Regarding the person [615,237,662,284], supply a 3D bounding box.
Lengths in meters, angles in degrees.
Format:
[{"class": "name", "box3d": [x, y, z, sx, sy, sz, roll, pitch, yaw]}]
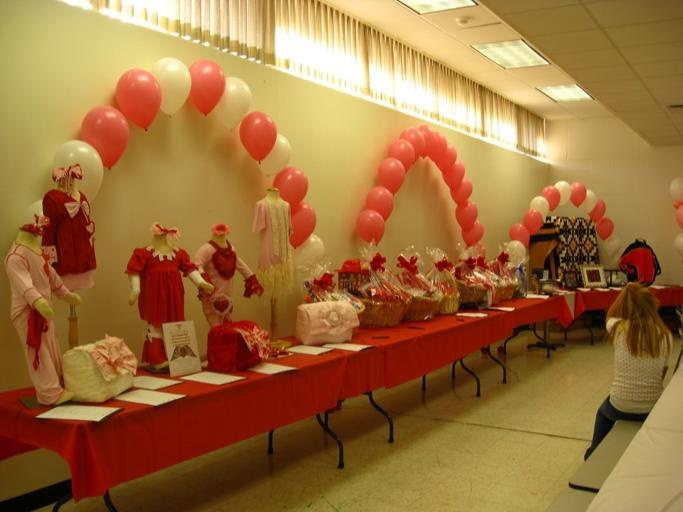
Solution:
[{"class": "person", "box3d": [5.356, 0.097, 8.710, 0.667, 0.866, 0.431, 4, 8, 11]}]

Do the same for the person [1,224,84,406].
[{"class": "person", "box3d": [-1.580, 0.294, 2.570, 0.331, 0.930, 0.330, -1, 1, -38]}]

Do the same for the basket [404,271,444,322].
[{"class": "basket", "box3d": [0.824, 0.414, 4.953, 0.374, 0.324, 0.415, 1, -2, 12]}]

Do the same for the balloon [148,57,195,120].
[{"class": "balloon", "box3d": [-1.240, -1.228, 3.552, 0.298, 0.484, 0.349, 2, 19, -9]}]

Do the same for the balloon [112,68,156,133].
[{"class": "balloon", "box3d": [-1.404, -1.109, 3.438, 0.307, 0.498, 0.356, -8, 17, -11]}]

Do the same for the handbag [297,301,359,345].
[{"class": "handbag", "box3d": [-0.142, 0.441, 3.945, 0.415, 0.346, 0.307, -2, 0, -40]}]

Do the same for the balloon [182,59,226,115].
[{"class": "balloon", "box3d": [-1.053, -1.314, 3.743, 0.297, 0.459, 0.347, 2, 24, -7]}]

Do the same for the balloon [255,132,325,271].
[{"class": "balloon", "box3d": [-0.502, -0.472, 4.272, 0.413, 1.184, 0.824, 0, 1, 12]}]

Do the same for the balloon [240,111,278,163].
[{"class": "balloon", "box3d": [-0.666, -1.044, 4.193, 0.319, 0.471, 0.330, 13, 22, 32]}]

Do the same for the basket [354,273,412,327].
[{"class": "basket", "box3d": [0.384, 0.399, 4.616, 0.401, 0.473, 0.561, -2, -1, 26]}]

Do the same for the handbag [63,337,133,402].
[{"class": "handbag", "box3d": [-1.303, 0.558, 2.662, 0.270, 0.353, 0.355, -1, -2, 12]}]

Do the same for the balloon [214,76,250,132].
[{"class": "balloon", "box3d": [-0.860, -1.250, 4.074, 0.320, 0.479, 0.354, 8, 19, -17]}]

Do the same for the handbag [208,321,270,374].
[{"class": "handbag", "box3d": [-0.694, 0.539, 3.201, 0.257, 0.288, 0.362, -2, 0, 25]}]
